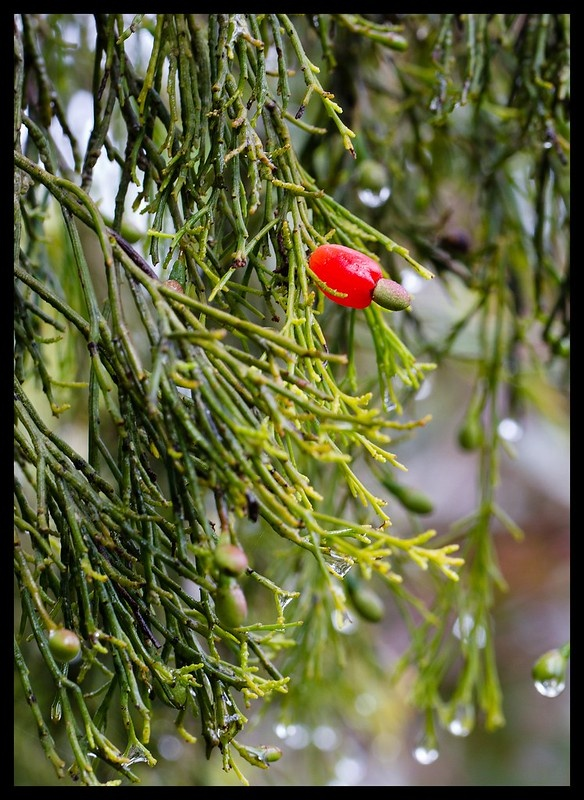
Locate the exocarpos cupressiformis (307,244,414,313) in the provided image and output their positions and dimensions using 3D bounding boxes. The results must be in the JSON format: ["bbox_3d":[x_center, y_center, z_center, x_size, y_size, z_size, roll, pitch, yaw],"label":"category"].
[{"bbox_3d":[0.074,-0.132,0.929,0.106,0.061,0.055,31,18,1],"label":"exocarpos cupressiformis"}]

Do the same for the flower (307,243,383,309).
[{"bbox_3d":[0.055,-0.141,0.933,0.081,0.061,0.064,2,11,19],"label":"flower"}]
